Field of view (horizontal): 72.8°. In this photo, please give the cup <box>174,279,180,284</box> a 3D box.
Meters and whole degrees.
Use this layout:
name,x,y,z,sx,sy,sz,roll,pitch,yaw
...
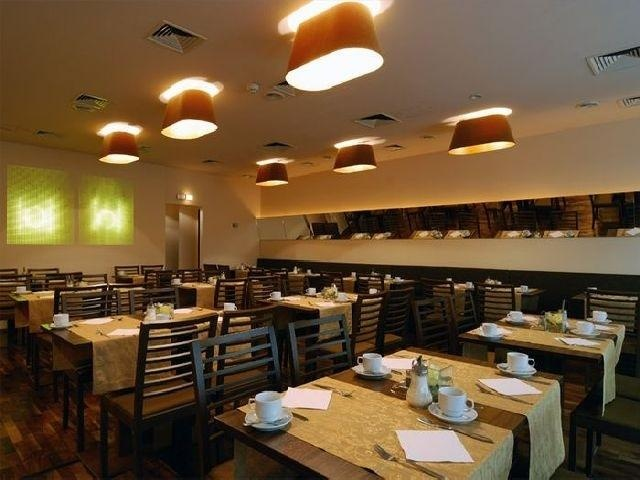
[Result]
name,x,y,z,sx,sy,sz,roll,pitch,yaw
cup,-2.286,0.661,6.983,0.068,0.051,0.065,0,-2,0

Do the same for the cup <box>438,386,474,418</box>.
name,x,y,z,sx,sy,sz,roll,pitch,yaw
cup,0.731,0.856,2.341,0.161,0.126,0.127,2,0,22

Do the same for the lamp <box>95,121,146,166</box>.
name,x,y,z,sx,sy,sz,roll,pitch,yaw
lamp,-2.912,-1.441,6.510,0.685,0.657,0.698,-8,-8,40

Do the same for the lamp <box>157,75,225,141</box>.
name,x,y,z,sx,sy,sz,roll,pitch,yaw
lamp,-1.514,-1.497,5.142,0.648,0.543,0.784,-3,4,-31

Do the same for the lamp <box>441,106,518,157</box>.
name,x,y,z,sx,sy,sz,roll,pitch,yaw
lamp,2.170,-1.478,5.853,0.768,0.606,0.888,4,12,19

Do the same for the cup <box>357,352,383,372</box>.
name,x,y,z,sx,sy,sz,roll,pitch,yaw
cup,0.327,0.778,2.807,0.130,0.102,0.100,0,2,11

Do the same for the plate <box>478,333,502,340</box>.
name,x,y,z,sx,sy,sz,roll,pitch,yaw
plate,1.359,0.761,3.442,0.185,0.023,0.113,1,11,2

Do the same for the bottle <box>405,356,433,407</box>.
name,x,y,z,sx,sy,sz,roll,pitch,yaw
bottle,0.562,0.798,2.449,0.141,0.267,0.090,4,12,16

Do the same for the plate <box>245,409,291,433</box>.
name,x,y,z,sx,sy,sz,roll,pitch,yaw
plate,-0.273,0.955,2.302,0.252,0.040,0.151,-1,11,-6

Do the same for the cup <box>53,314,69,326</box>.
name,x,y,z,sx,sy,sz,roll,pitch,yaw
cup,-2.155,0.656,3.637,0.113,0.085,0.089,0,-2,40

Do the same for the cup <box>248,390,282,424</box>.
name,x,y,z,sx,sy,sz,roll,pitch,yaw
cup,-0.275,0.874,2.294,0.120,0.115,0.154,1,-5,-22

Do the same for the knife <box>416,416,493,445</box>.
name,x,y,z,sx,sy,sz,roll,pitch,yaw
knife,0.697,0.988,2.249,0.256,0.020,0.040,10,35,26

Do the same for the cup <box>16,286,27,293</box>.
name,x,y,z,sx,sy,sz,roll,pitch,yaw
cup,-3.918,0.646,5.729,0.107,0.077,0.108,1,-2,0
